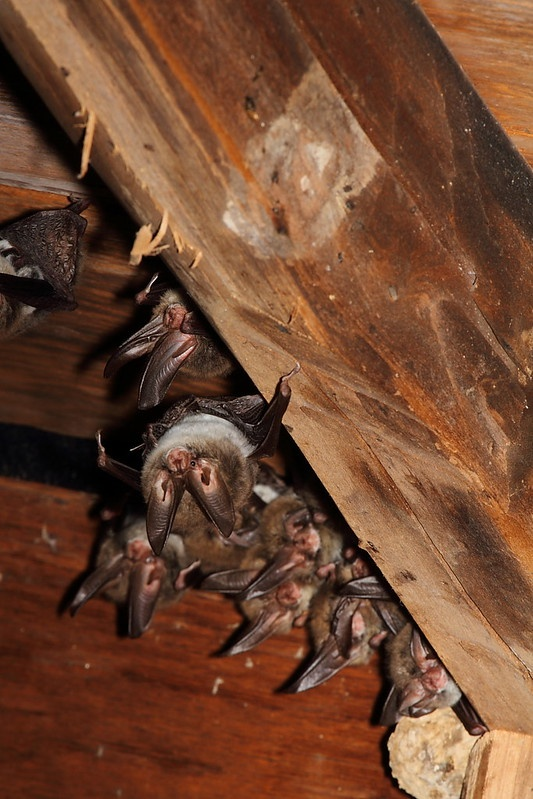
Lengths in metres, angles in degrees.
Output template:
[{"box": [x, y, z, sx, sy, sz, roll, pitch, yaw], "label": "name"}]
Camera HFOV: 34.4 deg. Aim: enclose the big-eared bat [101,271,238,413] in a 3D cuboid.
[{"box": [-0.304, -0.196, 2.700, 0.513, 0.254, 0.313, 45, 6, 4], "label": "big-eared bat"}]
